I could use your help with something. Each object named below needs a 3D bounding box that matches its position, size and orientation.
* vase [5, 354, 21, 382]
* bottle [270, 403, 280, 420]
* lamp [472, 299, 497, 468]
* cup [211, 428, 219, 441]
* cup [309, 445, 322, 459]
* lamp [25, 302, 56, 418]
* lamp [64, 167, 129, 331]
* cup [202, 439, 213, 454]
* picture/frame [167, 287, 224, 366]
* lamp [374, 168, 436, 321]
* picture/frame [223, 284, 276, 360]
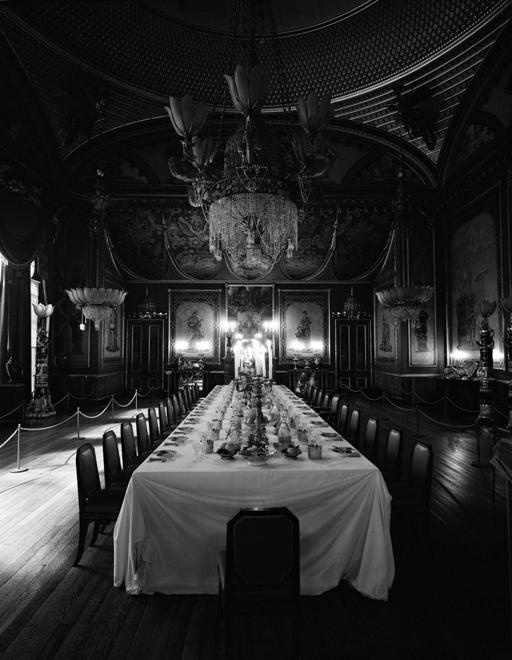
[{"bbox_3d":[-5.096,0.804,9.817,0.115,0.607,0.403,-1,-2,7],"label":"vase"},{"bbox_3d":[0.225,0.958,5.346,0.085,0.284,0.084,2,-6,0],"label":"bottle"},{"bbox_3d":[4.171,0.827,8.462,0.365,2.568,0.334,-1,3,9],"label":"lamp"},{"bbox_3d":[-0.366,0.954,4.190,0.058,0.172,0.072,2,-4,-16],"label":"cup"},{"bbox_3d":[0.435,0.909,3.432,0.067,0.106,0.088,-1,-10,2],"label":"cup"},{"bbox_3d":[-4.684,0.692,10.247,0.428,2.564,0.459,1,5,-32],"label":"lamp"},{"bbox_3d":[-3.316,-1.736,9.804,0.802,3.227,0.917,2,1,24],"label":"lamp"},{"bbox_3d":[-0.371,0.915,3.611,0.068,0.119,0.078,0,0,-26],"label":"cup"},{"bbox_3d":[-2.015,-0.064,15.391,1.821,0.172,3.274,2,47,-11],"label":"picture/frame"},{"bbox_3d":[3.003,-1.812,9.734,0.818,3.208,1.061,-3,5,2],"label":"lamp"},{"bbox_3d":[-0.202,-0.358,15.142,1.605,0.108,3.299,0,49,-1],"label":"picture/frame"}]
